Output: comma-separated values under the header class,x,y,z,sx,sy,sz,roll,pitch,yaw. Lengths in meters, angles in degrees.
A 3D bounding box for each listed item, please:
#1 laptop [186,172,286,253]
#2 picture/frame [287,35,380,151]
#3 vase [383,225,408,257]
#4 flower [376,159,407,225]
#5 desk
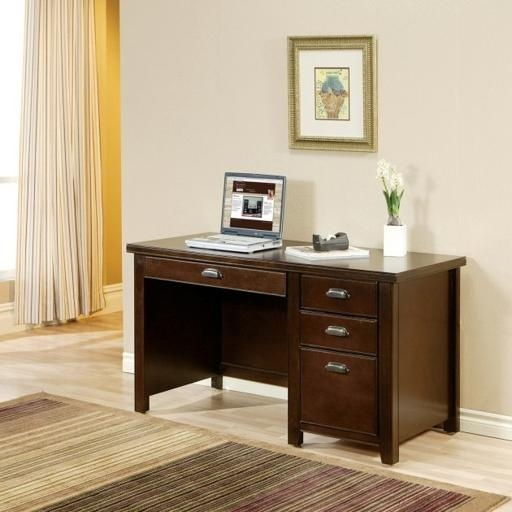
class,x,y,z,sx,sy,sz,roll,pitch,yaw
laptop,-0.084,-0.191,2.249,0.360,0.315,0.297,10,16,43
picture/frame,0.362,-0.742,2.325,0.518,0.635,0.031,3,7,29
vase,0.530,-0.059,2.065,0.103,0.159,0.106,0,3,2
flower,0.555,-0.270,2.138,0.114,0.308,0.288,0,-1,13
desk,0.086,0.353,2.237,1.234,0.711,0.578,1,2,39
